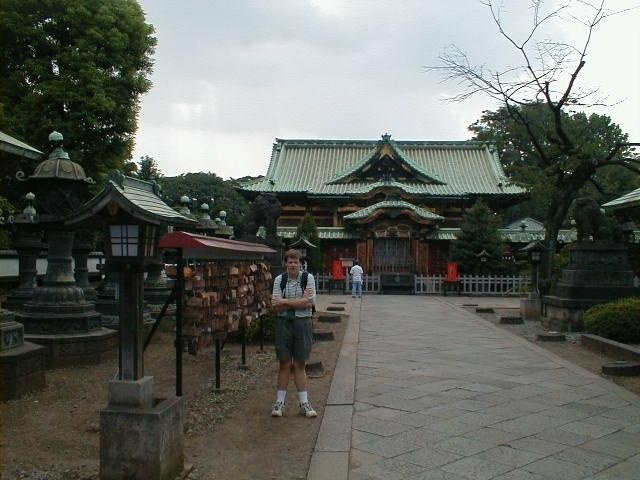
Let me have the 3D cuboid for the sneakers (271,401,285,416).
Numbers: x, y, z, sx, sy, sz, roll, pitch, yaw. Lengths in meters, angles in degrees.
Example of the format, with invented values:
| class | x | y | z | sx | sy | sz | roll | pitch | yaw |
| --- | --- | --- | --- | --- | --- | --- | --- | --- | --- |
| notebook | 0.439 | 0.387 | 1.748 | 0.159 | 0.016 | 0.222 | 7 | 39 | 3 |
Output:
| class | x | y | z | sx | sy | sz | roll | pitch | yaw |
| --- | --- | --- | --- | --- | --- | --- | --- | --- | --- |
| sneakers | -0.599 | 2.364 | 8.581 | 0.190 | 0.193 | 0.226 | -1 | 6 | -6 |

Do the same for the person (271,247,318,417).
| class | x | y | z | sx | sy | sz | roll | pitch | yaw |
| --- | --- | --- | --- | --- | --- | --- | --- | --- | --- |
| person | -0.388 | 1.292 | 8.677 | 0.649 | 2.305 | 0.800 | -1 | 7 | -3 |

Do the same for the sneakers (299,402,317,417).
| class | x | y | z | sx | sy | sz | roll | pitch | yaw |
| --- | --- | --- | --- | --- | --- | --- | --- | --- | --- |
| sneakers | -0.157 | 2.374 | 8.486 | 0.124 | 0.139 | 0.320 | 5 | -12 | -32 |
